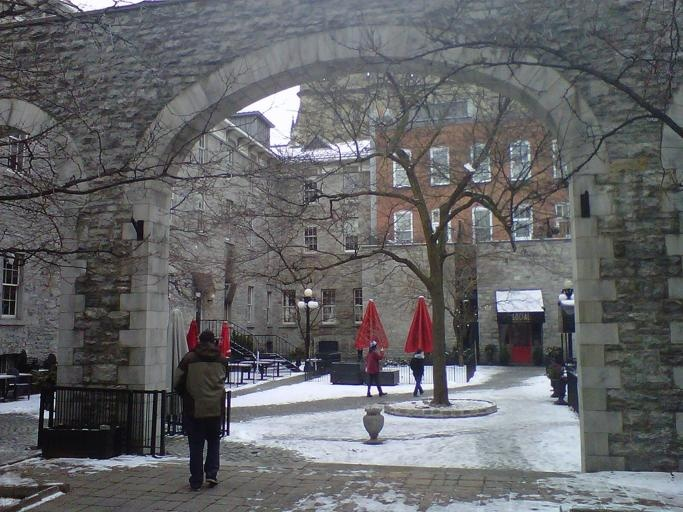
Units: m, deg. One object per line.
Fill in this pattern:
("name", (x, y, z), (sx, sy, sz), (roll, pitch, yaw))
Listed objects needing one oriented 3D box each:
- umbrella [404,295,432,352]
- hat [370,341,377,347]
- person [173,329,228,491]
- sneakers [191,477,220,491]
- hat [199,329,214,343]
("umbrella", (2.237, 2.035, 24.999), (0.755, 1.723, 1.323), (-5, -10, 4))
("hat", (0.920, 2.654, 25.117), (0.301, 0.125, 0.420), (-1, -8, 1))
("person", (-2.235, 2.420, 13.294), (0.853, 2.478, 0.380), (-1, -11, -14))
("sneakers", (-2.145, 3.553, 13.014), (0.427, 0.151, 0.153), (2, -6, -37))
("hat", (-2.189, 1.321, 13.606), (0.210, 0.209, 0.255), (1, -24, -21))
